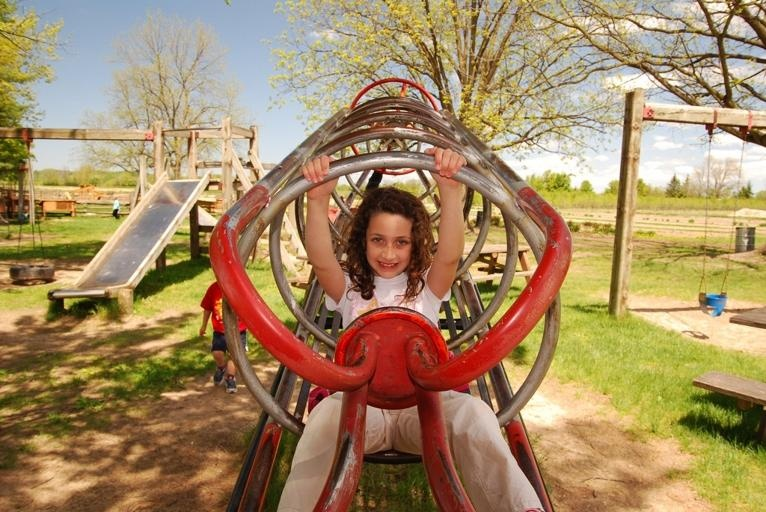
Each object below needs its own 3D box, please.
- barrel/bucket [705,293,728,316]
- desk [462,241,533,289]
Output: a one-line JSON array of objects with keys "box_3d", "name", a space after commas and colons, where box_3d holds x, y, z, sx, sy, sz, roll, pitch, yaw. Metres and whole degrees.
[{"box_3d": [4.361, 0.656, 6.064, 0.294, 0.298, 0.188, -7, 15, -35], "name": "barrel/bucket"}, {"box_3d": [2.099, 0.029, 8.049, 0.697, 0.429, 0.909, -36, 11, 5], "name": "desk"}]
